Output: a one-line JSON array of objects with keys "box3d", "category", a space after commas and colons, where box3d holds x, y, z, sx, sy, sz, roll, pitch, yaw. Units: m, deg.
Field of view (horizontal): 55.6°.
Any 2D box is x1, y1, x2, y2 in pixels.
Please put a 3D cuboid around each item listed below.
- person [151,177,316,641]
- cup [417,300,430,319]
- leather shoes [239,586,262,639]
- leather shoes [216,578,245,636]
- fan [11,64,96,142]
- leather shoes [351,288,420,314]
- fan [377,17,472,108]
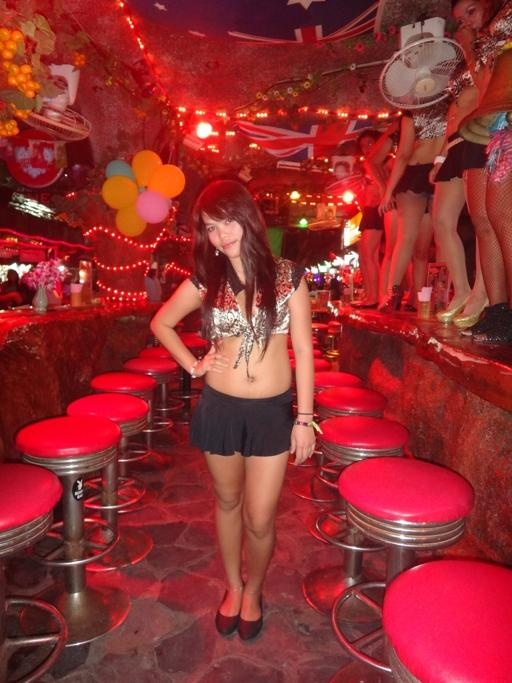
[{"box3d": [-0.104, 0.367, 2.203, 0.711, 2.120, 0.308, 2, 8, 8], "category": "person"}, {"box3d": [1.251, -0.237, 3.806, 0.123, 0.127, 0.120, -2, 5, 0], "category": "cup"}, {"box3d": [-0.036, 1.353, 2.408, 0.112, 0.054, 0.300, 4, 21, 5], "category": "leather shoes"}, {"box3d": [-0.157, 1.368, 2.440, 0.099, 0.066, 0.305, 17, 3, 1], "category": "leather shoes"}, {"box3d": [-1.415, -1.571, 3.295, 0.215, 0.329, 0.296, 31, -6, -19], "category": "fan"}, {"box3d": [1.138, -0.393, 4.663, 0.209, 0.260, 0.612, -13, 18, -25], "category": "leather shoes"}, {"box3d": [1.314, -2.309, 4.104, 0.638, 0.538, 0.767, -26, -24, 14], "category": "fan"}]
